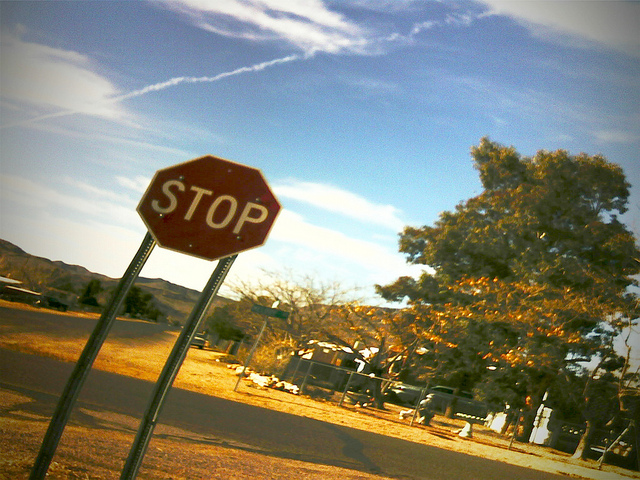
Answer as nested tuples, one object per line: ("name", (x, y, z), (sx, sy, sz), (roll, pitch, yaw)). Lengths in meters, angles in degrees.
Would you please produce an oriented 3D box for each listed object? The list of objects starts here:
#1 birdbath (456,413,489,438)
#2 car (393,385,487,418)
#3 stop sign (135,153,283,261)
("birdbath", (4.214, 5.223, 13.805), (0.942, 0.541, 0.464), (16, -17, -13))
("car", (3.583, 4.748, 14.554), (2.562, 0.770, 1.060), (9, -10, 5))
("stop sign", (-1.077, -0.329, 4.927), (1.613, 1.064, 0.028), (9, 3, 19))
